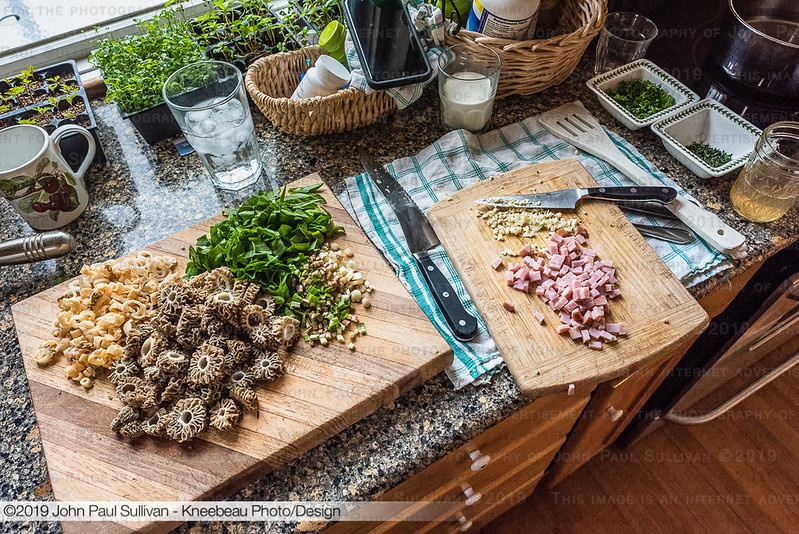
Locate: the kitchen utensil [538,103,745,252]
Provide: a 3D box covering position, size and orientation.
[{"bbox_3d":[0.555,-0.267,1.684,0.210,0.063,0.788,-33,60,-19],"label":"kitchen utensil"}]

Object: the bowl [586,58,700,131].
[{"bbox_3d":[0.690,-0.505,1.692,0.235,0.070,0.226,-2,52,3],"label":"bowl"}]

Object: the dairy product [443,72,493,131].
[{"bbox_3d":[0.183,-0.444,1.689,0.151,0.130,0.149,-10,28,-20],"label":"dairy product"}]

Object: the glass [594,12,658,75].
[{"bbox_3d":[0.686,-0.666,1.828,0.149,0.156,0.155,14,21,-13],"label":"glass"}]

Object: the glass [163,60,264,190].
[{"bbox_3d":[-0.460,-0.335,1.587,0.158,0.244,0.162,13,45,33],"label":"glass"}]

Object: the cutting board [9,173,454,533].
[{"bbox_3d":[-0.389,0.179,1.392,0.907,0.169,0.584,-19,55,-12],"label":"cutting board"}]

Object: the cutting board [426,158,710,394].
[{"bbox_3d":[0.383,-0.002,1.467,0.464,0.142,0.569,-22,56,-14],"label":"cutting board"}]
